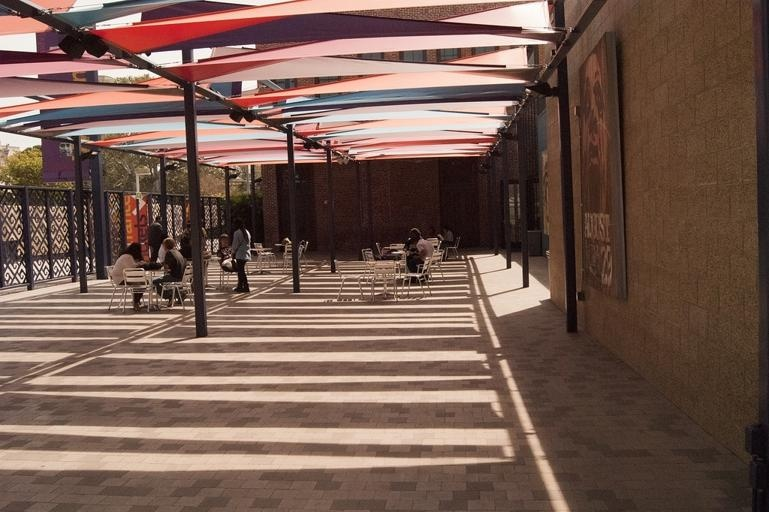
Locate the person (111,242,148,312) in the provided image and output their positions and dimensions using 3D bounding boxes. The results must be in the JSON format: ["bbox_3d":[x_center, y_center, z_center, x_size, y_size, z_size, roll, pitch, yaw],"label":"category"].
[{"bbox_3d":[-5.700,0.463,14.130,0.644,1.468,0.814,-6,7,-40],"label":"person"}]

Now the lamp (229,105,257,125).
[{"bbox_3d":[-2.950,-2.917,13.030,0.391,0.280,0.532,3,10,11],"label":"lamp"}]

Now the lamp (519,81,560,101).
[{"bbox_3d":[2.781,-2.829,11.172,0.669,0.346,0.700,0,5,-6],"label":"lamp"}]

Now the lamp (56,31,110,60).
[{"bbox_3d":[-3.982,-2.797,8.345,0.567,0.291,0.246,-3,6,-17],"label":"lamp"}]
